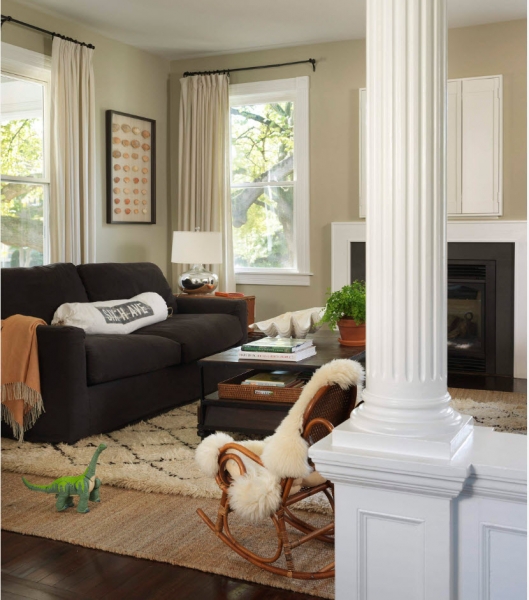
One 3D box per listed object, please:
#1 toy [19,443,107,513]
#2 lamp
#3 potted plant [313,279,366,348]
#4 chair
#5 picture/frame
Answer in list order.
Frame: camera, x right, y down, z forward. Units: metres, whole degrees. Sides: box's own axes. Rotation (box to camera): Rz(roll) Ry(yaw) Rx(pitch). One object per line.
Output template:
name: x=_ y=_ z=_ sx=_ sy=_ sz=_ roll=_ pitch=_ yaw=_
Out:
toy: x=-0.818 y=0.734 z=2.326 sx=0.441 sy=0.282 sz=0.194 roll=-2 pitch=1 yaw=-5
lamp: x=-0.600 y=-0.353 z=5.470 sx=0.622 sy=0.640 sz=0.571 roll=0 pitch=0 yaw=-5
potted plant: x=0.536 y=0.096 z=3.404 sx=0.314 sy=0.333 sz=0.307 roll=-9 pitch=-15 yaw=-2
chair: x=0.083 y=0.478 z=1.694 sx=0.509 sy=0.560 sz=0.464 roll=-4 pitch=-4 yaw=43
picture/frame: x=-1.314 y=-1.284 z=5.615 sx=0.067 sy=1.107 sz=0.679 roll=2 pitch=4 yaw=30
